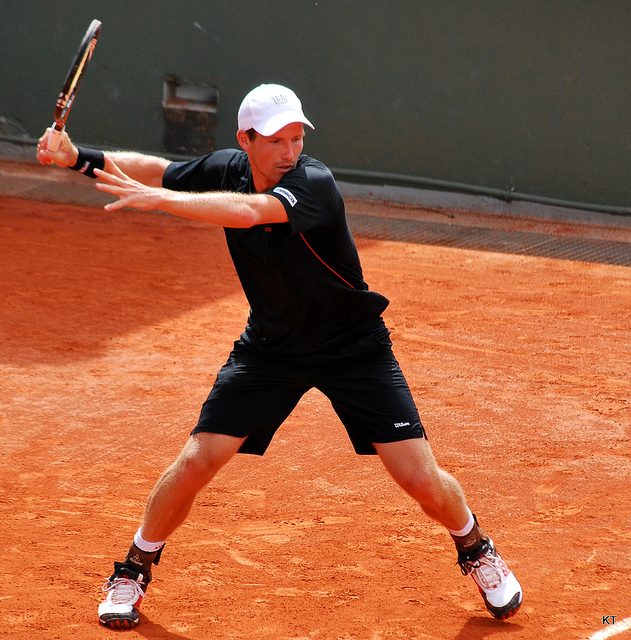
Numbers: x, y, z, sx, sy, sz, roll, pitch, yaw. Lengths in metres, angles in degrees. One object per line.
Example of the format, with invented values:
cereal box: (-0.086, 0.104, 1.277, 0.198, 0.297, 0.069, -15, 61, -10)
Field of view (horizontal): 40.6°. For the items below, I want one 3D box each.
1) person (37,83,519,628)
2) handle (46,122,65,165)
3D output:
person: (-0.126, 0.167, 3.637, 1.744, 2.219, 0.924, 7, 5, -14)
handle: (-1.130, -0.781, 3.695, 0.055, 0.128, 0.124, 8, 4, -17)
